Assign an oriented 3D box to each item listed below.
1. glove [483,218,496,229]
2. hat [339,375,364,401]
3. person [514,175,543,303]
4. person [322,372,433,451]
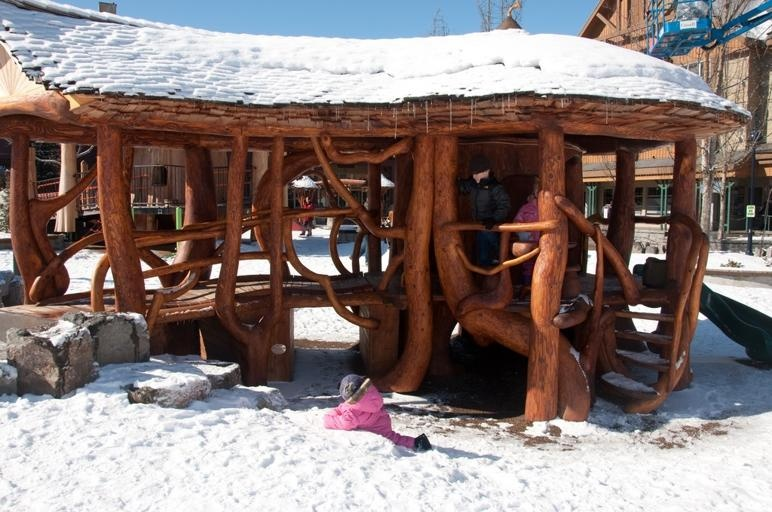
[{"bbox_3d":[1.364,-0.417,7.895,0.175,0.134,0.159,0,9,9],"label":"glove"},{"bbox_3d":[-0.387,1.408,6.642,0.191,0.308,0.311,36,4,-6],"label":"hat"},{"bbox_3d":[1.933,-0.234,8.295,0.352,1.656,1.389,0,10,13],"label":"person"},{"bbox_3d":[-0.118,1.705,6.624,1.224,0.543,0.632,18,23,12],"label":"person"}]
